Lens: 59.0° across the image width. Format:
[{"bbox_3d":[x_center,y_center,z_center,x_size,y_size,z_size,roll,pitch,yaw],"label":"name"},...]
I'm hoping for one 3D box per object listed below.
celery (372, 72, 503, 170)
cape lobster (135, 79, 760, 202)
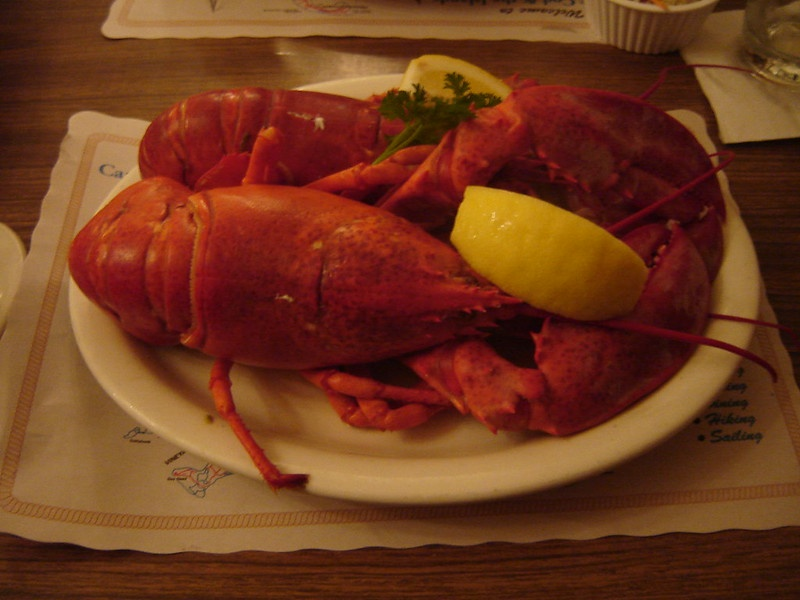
[{"bbox_3d":[0.065,-0.288,1.151,0.213,0.112,0.264,-25,40,-38],"label":"celery"},{"bbox_3d":[0.013,-0.244,1.188,0.696,0.120,0.344,5,47,18],"label":"cape lobster"}]
